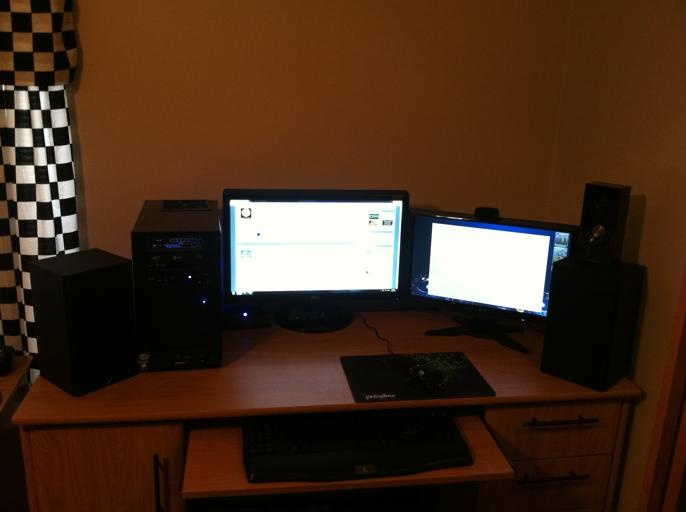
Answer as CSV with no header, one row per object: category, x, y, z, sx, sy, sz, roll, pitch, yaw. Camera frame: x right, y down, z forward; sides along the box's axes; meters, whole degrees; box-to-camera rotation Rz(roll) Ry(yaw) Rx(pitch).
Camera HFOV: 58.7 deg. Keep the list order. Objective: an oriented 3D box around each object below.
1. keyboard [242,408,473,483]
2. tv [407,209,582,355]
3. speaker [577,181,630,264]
keyboard,0.041,0.594,1.929,0.699,0.131,0.226,1,5,-8
tv,0.552,0.097,2.244,0.448,0.409,0.162,8,18,16
speaker,0.879,-0.120,2.068,0.154,0.259,0.088,3,5,23
